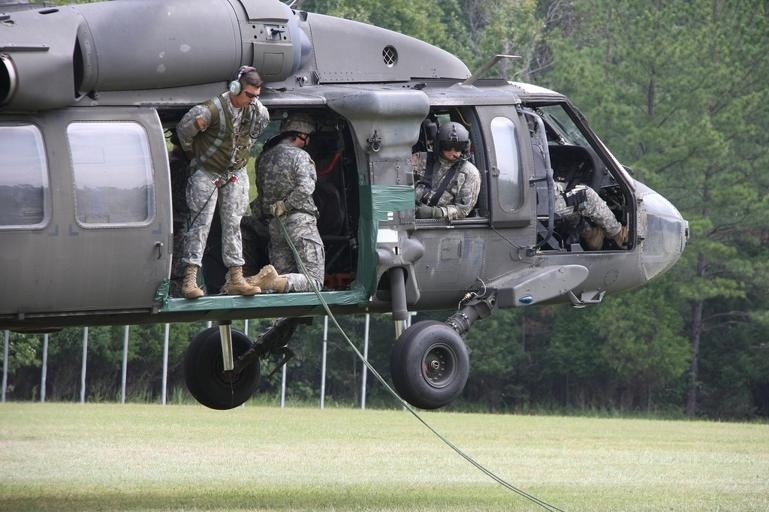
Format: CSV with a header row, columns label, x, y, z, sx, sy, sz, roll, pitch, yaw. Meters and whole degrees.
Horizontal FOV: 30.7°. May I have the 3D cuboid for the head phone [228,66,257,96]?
label,x,y,z,sx,sy,sz,roll,pitch,yaw
head phone,-2.451,-3.023,24.494,0.552,0.478,0.232,3,5,-42

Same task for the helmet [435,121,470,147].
label,x,y,z,sx,sy,sz,roll,pitch,yaw
helmet,1.265,-2.194,25.735,0.514,0.378,0.462,-3,0,16

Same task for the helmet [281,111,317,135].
label,x,y,z,sx,sy,sz,roll,pitch,yaw
helmet,-1.535,-2.387,25.537,0.510,0.372,0.361,-11,15,-22

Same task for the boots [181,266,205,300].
label,x,y,z,sx,sy,sz,roll,pitch,yaw
boots,-3.365,0.466,24.545,0.299,0.548,0.811,-1,9,-17

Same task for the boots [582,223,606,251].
label,x,y,z,sx,sy,sz,roll,pitch,yaw
boots,4.032,-0.312,27.038,0.537,0.504,0.417,2,3,-7
